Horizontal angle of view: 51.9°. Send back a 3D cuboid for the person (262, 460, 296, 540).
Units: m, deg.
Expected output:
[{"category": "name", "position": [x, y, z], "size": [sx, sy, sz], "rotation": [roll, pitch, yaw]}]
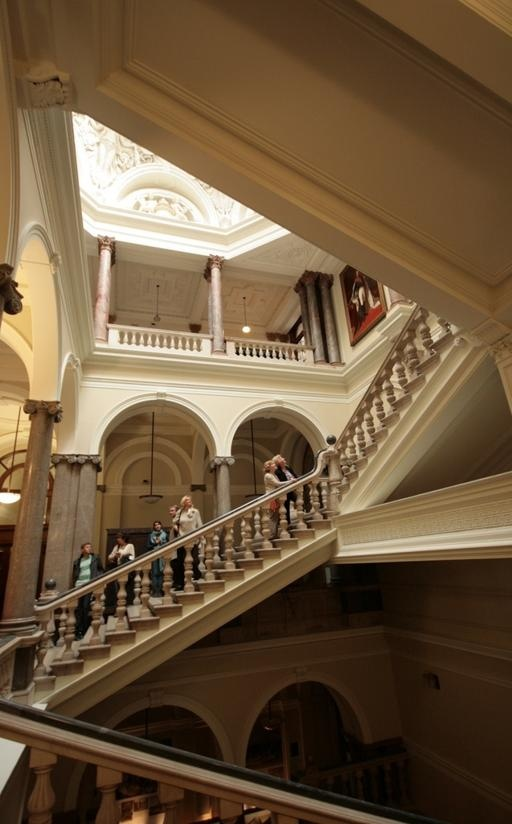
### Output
[{"category": "person", "position": [0.272, 1.035, 6.087], "size": [0.384, 0.904, 0.318], "rotation": [-14, -42, 7]}]
